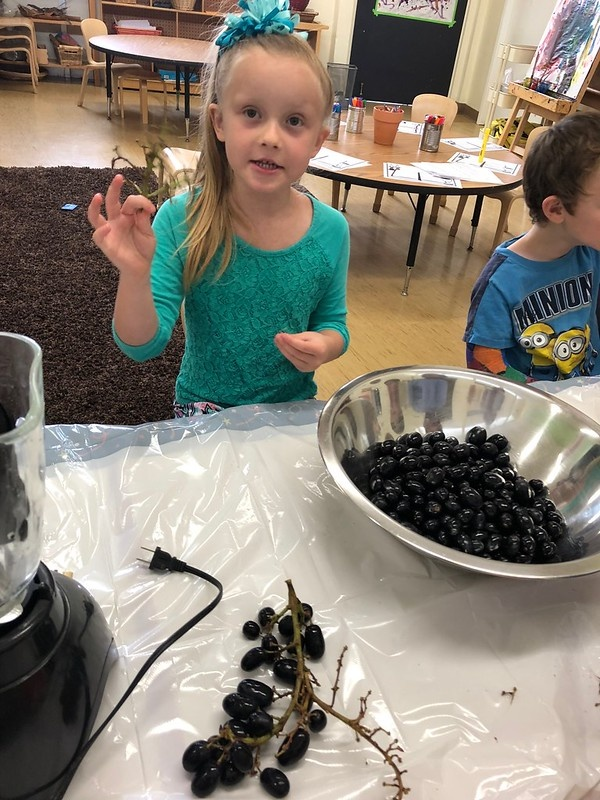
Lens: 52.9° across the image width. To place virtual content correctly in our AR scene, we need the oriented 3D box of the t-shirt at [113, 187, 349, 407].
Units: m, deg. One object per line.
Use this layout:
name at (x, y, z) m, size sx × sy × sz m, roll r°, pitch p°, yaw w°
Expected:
t-shirt at (-0.083, -0.192, 1.197) m, size 0.415 × 0.390 × 0.204 m, roll -2°, pitch 23°, yaw -19°

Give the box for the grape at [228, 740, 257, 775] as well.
grape at (-0.048, 0.281, 0.473) m, size 0.018 × 0.029 × 0.020 m, roll -15°, pitch 53°, yaw -18°

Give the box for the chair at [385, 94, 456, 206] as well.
chair at (0.741, -1.917, 4.210) m, size 0.364 × 0.610 × 0.452 m, roll 4°, pitch 48°, yaw 3°

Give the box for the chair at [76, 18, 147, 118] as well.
chair at (-1.933, -3.290, 5.836) m, size 0.430 × 0.609 × 0.401 m, roll 12°, pitch 20°, yaw -14°
